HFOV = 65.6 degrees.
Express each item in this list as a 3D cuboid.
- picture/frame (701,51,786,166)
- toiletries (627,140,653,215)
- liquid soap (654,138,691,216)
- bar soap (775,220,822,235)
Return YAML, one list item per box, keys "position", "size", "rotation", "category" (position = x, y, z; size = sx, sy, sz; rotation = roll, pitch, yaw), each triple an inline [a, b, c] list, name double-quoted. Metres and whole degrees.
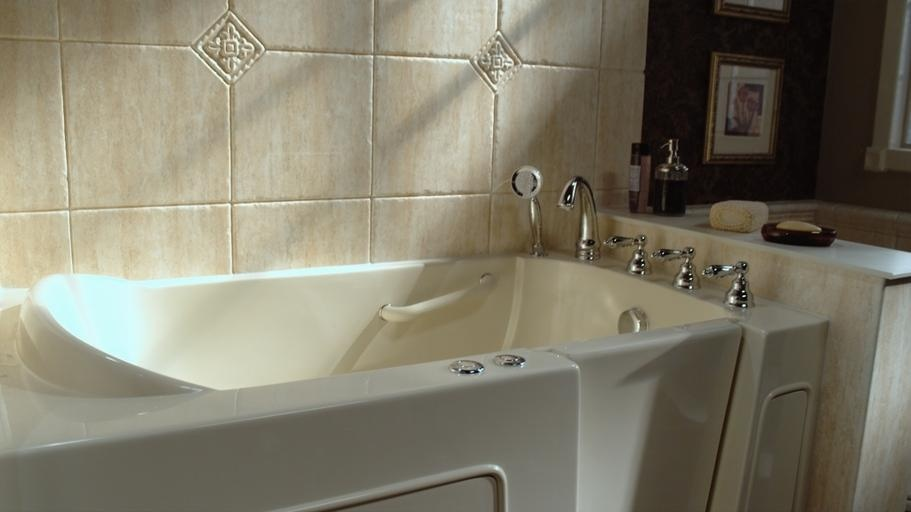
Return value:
- position: [1.402, -0.746, 3.487]
  size: [0.577, 0.581, 0.043]
  rotation: [-2, 9, -29]
  category: "picture/frame"
- position: [0.828, -0.353, 3.182]
  size: [0.086, 0.312, 0.117]
  rotation: [2, 5, 10]
  category: "toiletries"
- position: [0.958, -0.346, 3.103]
  size: [0.164, 0.332, 0.118]
  rotation: [1, 5, -5]
  category: "liquid soap"
- position: [1.289, -0.109, 2.655]
  size: [0.153, 0.040, 0.073]
  rotation: [3, 5, 24]
  category: "bar soap"
